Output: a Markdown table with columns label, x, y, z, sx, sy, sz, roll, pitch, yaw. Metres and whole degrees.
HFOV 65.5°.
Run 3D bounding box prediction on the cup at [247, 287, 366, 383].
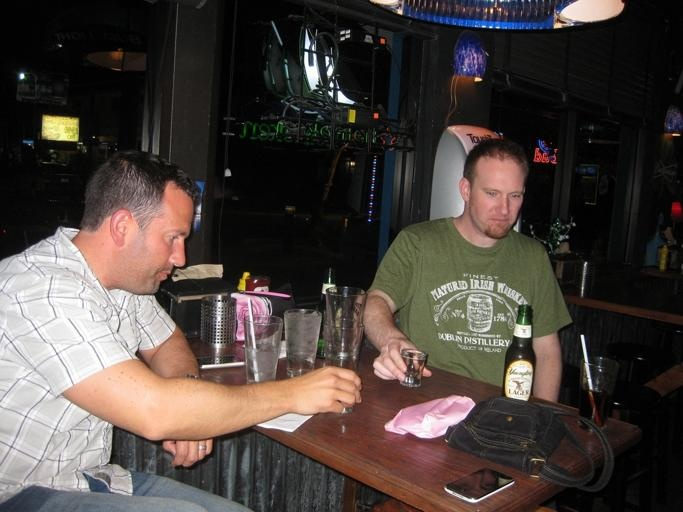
| label | x | y | z | sx | sy | sz | roll | pitch | yaw |
| --- | --- | --- | --- | --- | --- | --- | --- | --- | --- |
| cup | -0.111 | 0.254 | 1.818 | 0.257 | 0.304 | 0.296 | 1 | -4 | 17 |

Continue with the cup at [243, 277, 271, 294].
| label | x | y | z | sx | sy | sz | roll | pitch | yaw |
| --- | --- | --- | --- | --- | --- | --- | --- | --- | --- |
| cup | -0.366 | 0.117 | 2.329 | 0.074 | 0.068 | 0.068 | 4 | 14 | -1 |

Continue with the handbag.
| label | x | y | z | sx | sy | sz | roll | pitch | yaw |
| --- | --- | --- | --- | --- | --- | --- | --- | --- | --- |
| handbag | 0.505 | 0.487 | 1.442 | 0.368 | 0.138 | 0.265 | 15 | 19 | 35 |

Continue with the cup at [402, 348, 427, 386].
| label | x | y | z | sx | sy | sz | roll | pitch | yaw |
| --- | --- | --- | --- | --- | --- | --- | --- | --- | --- |
| cup | 0.244 | 0.366 | 1.832 | 0.109 | 0.121 | 0.112 | 1 | 12 | 0 |
